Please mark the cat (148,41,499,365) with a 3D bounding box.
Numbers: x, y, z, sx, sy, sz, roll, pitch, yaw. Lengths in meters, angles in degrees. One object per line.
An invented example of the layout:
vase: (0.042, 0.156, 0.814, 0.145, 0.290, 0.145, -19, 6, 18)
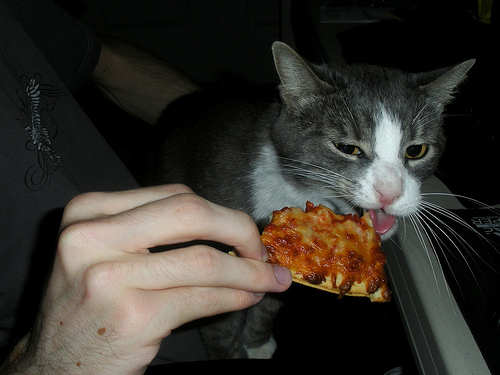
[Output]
cat: (0.226, -0.346, 2.686, 1.024, 1.563, 1.996, -8, 34, -37)
